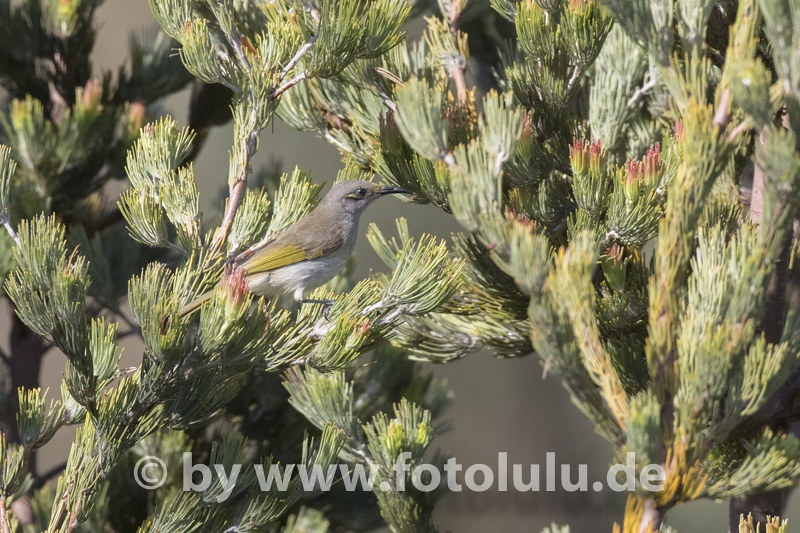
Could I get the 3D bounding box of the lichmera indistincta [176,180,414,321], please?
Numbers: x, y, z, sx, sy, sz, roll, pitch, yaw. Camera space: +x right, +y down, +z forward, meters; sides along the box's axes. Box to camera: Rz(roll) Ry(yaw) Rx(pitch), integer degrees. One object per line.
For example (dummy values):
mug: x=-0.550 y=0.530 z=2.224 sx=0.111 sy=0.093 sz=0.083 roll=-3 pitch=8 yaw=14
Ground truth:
lichmera indistincta: x=-0.554 y=-0.115 z=8.156 sx=1.160 sy=0.622 sz=0.340 roll=-4 pitch=-2 yaw=6
